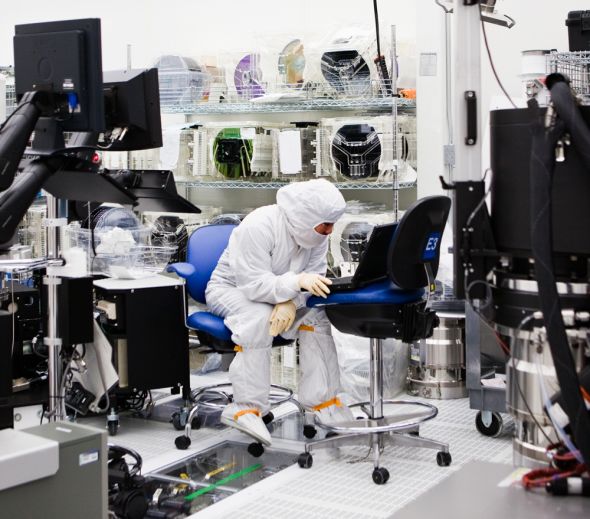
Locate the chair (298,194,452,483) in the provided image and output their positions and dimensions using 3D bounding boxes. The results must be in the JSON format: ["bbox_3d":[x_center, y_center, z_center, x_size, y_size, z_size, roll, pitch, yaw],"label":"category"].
[{"bbox_3d":[0.373,0.294,2.964,0.602,1.096,0.538,5,5,29],"label":"chair"}]

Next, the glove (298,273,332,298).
[{"bbox_3d":[0.086,0.107,2.899,0.054,0.059,0.200,-26,18,-25],"label":"glove"}]

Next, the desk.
[{"bbox_3d":[-0.774,0.413,3.387,0.674,0.906,0.560,1,-2,-25],"label":"desk"}]

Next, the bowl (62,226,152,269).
[{"bbox_3d":[-0.930,-0.066,3.509,0.321,0.151,0.233,-2,3,-39],"label":"bowl"}]

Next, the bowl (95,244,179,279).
[{"bbox_3d":[-0.872,0.012,3.614,0.187,0.106,0.297,1,5,36],"label":"bowl"}]

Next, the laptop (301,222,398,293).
[{"bbox_3d":[0.246,-0.008,2.866,0.263,0.223,0.301,1,8,27],"label":"laptop"}]

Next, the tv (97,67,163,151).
[{"bbox_3d":[-0.598,-0.532,2.504,0.301,0.300,0.154,4,5,41],"label":"tv"}]

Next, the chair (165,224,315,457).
[{"bbox_3d":[-0.273,0.402,3.691,0.726,1.139,0.666,0,-6,-8],"label":"chair"}]

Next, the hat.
[{"bbox_3d":[0.103,-0.230,3.262,0.300,0.298,0.271,9,20,25],"label":"hat"}]

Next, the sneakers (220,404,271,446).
[{"bbox_3d":[-0.208,0.700,3.029,0.237,0.109,0.133,27,-3,8],"label":"sneakers"}]

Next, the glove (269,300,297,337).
[{"bbox_3d":[-0.051,0.257,3.076,0.108,0.149,0.043,14,4,-17],"label":"glove"}]
